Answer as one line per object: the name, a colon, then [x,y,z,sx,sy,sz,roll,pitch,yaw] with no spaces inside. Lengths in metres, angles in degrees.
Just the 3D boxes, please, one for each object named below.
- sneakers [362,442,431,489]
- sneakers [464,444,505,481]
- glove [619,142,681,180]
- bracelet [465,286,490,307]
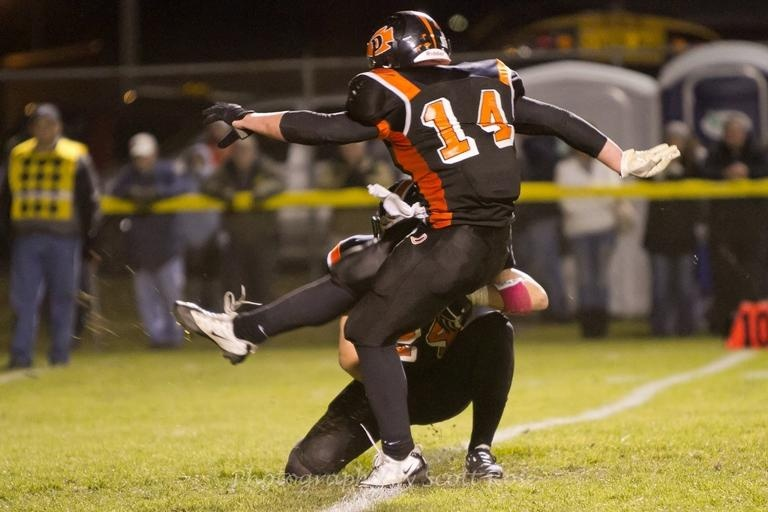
sneakers: [0.029,1.386,7.139,0.533,0.193,0.159,-15,11,-28]
sneakers: [0.644,1.380,7.339,0.206,0.167,0.434,1,0,-12]
glove: [1.702,-0.606,7.268,0.259,0.116,0.350,5,27,33]
bracelet: [0.614,0.288,7.424,0.122,0.098,0.139,-11,9,-5]
